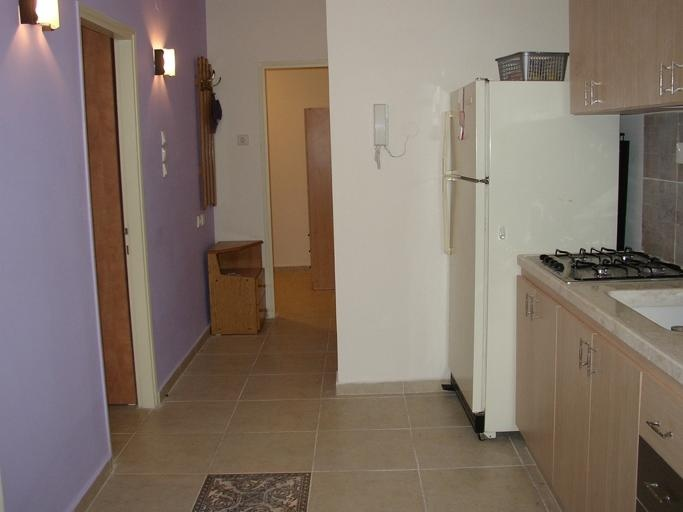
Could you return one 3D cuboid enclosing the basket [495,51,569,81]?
[{"bbox_3d":[1.151,-1.145,3.351,0.402,0.164,0.183,4,14,20],"label":"basket"}]

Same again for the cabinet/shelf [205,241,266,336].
[{"bbox_3d":[-1.068,0.303,5.649,0.503,0.868,0.552,-2,13,-1],"label":"cabinet/shelf"}]
